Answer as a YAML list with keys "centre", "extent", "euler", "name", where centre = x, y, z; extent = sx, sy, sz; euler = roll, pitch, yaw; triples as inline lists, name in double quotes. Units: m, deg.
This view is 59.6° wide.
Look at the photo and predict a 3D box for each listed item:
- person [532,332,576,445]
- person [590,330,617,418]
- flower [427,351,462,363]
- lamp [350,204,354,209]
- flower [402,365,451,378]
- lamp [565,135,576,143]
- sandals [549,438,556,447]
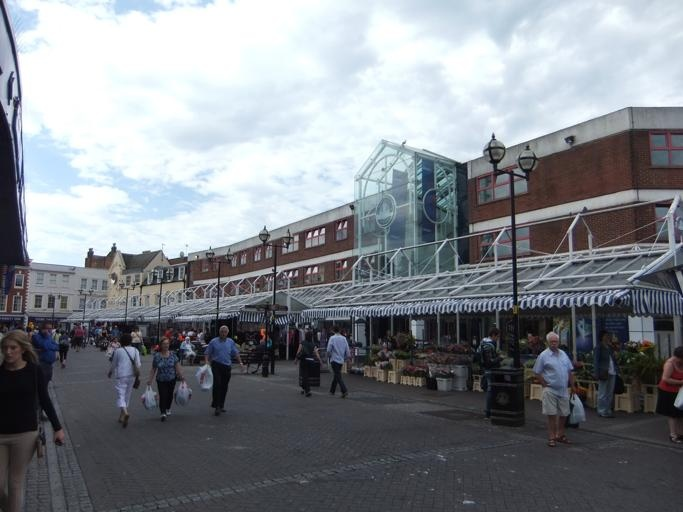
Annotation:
- centre: [4.359, 2.686, 12.177]
  extent: [0.726, 2.230, 0.956]
  euler: [-4, -11, 24]
  name: "person"
- centre: [6.593, 2.929, 14.889]
  extent: [0.514, 2.118, 0.561]
  euler: [-8, -13, 42]
  name: "person"
- centre: [3.493, 3.449, 20.091]
  extent: [1.176, 0.383, 0.413]
  euler: [-1, -11, 9]
  name: "flower"
- centre: [0.747, -3.393, 41.853]
  extent: [0.244, 0.350, 0.303]
  euler: [-3, -2, 18]
  name: "lamp"
- centre: [3.100, 4.083, 20.807]
  extent: [0.424, 0.450, 2.478]
  euler: [5, -10, -42]
  name: "flower"
- centre: [10.868, -5.505, 28.351]
  extent: [0.357, 0.281, 0.315]
  euler: [5, -11, -26]
  name: "lamp"
- centre: [4.180, 3.684, 11.846]
  extent: [0.138, 0.140, 0.314]
  euler: [-4, -12, 20]
  name: "sandals"
